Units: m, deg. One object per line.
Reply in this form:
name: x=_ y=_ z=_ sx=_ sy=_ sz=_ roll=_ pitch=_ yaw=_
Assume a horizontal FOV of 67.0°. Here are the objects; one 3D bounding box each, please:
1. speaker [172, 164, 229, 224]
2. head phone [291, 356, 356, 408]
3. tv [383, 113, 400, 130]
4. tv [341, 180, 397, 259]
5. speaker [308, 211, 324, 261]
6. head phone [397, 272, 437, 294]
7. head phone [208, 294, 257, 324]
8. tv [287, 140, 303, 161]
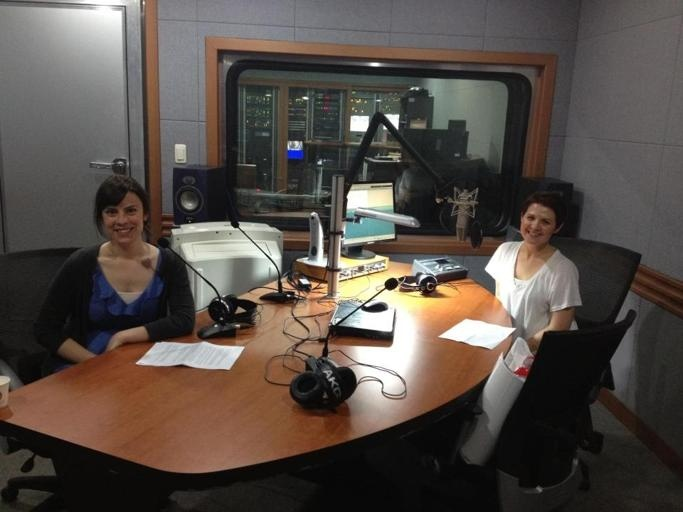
speaker: x=-1.066 y=-0.461 z=3.854 sx=0.331 sy=0.493 sz=0.327 roll=5 pitch=36 yaw=-3
head phone: x=-0.064 y=0.489 z=2.014 sx=0.244 sy=0.146 sz=0.229 roll=4 pitch=19 yaw=8
tv: x=0.411 y=-1.077 z=4.136 sx=0.111 sy=0.120 sz=0.210 roll=2 pitch=19 yaw=5
tv: x=0.170 y=-0.253 z=3.432 sx=0.257 sy=0.597 sz=0.543 roll=9 pitch=13 yaw=38
speaker: x=-0.156 y=-0.117 z=3.163 sx=0.089 sy=0.330 sz=0.130 roll=-1 pitch=18 yaw=-4
head phone: x=0.463 y=0.165 z=3.131 sx=0.158 sy=0.070 sz=0.143 roll=-5 pitch=12 yaw=-16
head phone: x=-0.532 y=0.265 z=2.533 sx=0.172 sy=0.085 sz=0.157 roll=0 pitch=15 yaw=-7
tv: x=-0.385 y=-0.871 z=4.257 sx=0.129 sy=0.131 sz=0.127 roll=-1 pitch=11 yaw=7
